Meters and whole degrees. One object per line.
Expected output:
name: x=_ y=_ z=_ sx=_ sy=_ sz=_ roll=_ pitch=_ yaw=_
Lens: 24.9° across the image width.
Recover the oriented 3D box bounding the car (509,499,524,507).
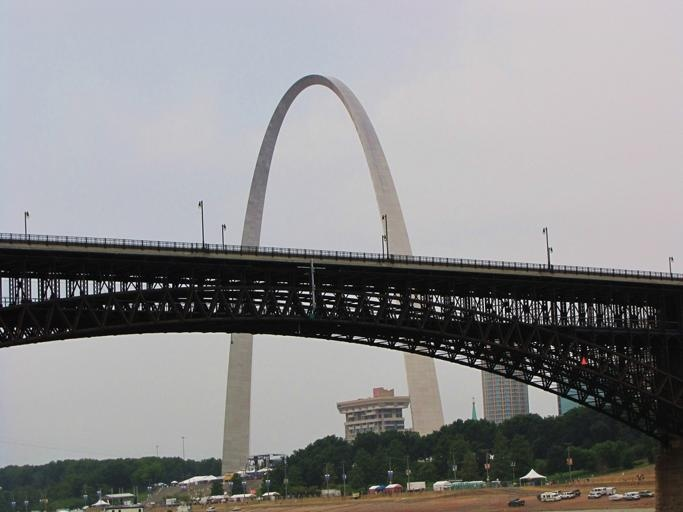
car: x=32.093 y=46.186 z=283.910 sx=2.758 sy=1.267 sz=1.981 roll=3 pitch=-7 yaw=9
